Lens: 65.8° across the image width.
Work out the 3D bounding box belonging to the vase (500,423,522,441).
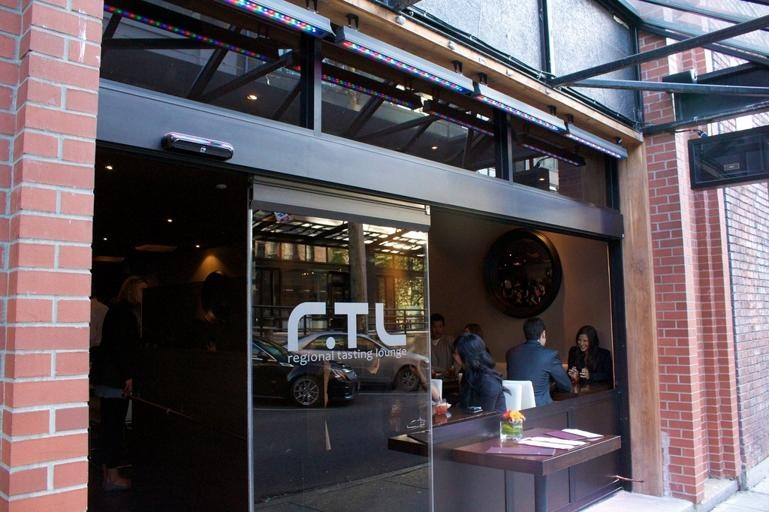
[{"bbox_3d":[1.067,1.462,4.995,0.155,0.123,0.149,0,-8,3],"label":"vase"}]

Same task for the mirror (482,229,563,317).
[{"bbox_3d":[2.044,0.257,8.622,0.262,1.196,1.200,2,-11,-40],"label":"mirror"}]

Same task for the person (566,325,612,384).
[{"bbox_3d":[2.512,1.280,7.382,0.556,0.761,0.564,0,-6,-8],"label":"person"}]

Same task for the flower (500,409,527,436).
[{"bbox_3d":[1.076,1.405,5.095,0.232,0.248,0.245,-2,-7,20],"label":"flower"}]

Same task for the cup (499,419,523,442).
[{"bbox_3d":[1.058,1.444,4.984,0.173,0.155,0.169,-1,-1,0],"label":"cup"}]
